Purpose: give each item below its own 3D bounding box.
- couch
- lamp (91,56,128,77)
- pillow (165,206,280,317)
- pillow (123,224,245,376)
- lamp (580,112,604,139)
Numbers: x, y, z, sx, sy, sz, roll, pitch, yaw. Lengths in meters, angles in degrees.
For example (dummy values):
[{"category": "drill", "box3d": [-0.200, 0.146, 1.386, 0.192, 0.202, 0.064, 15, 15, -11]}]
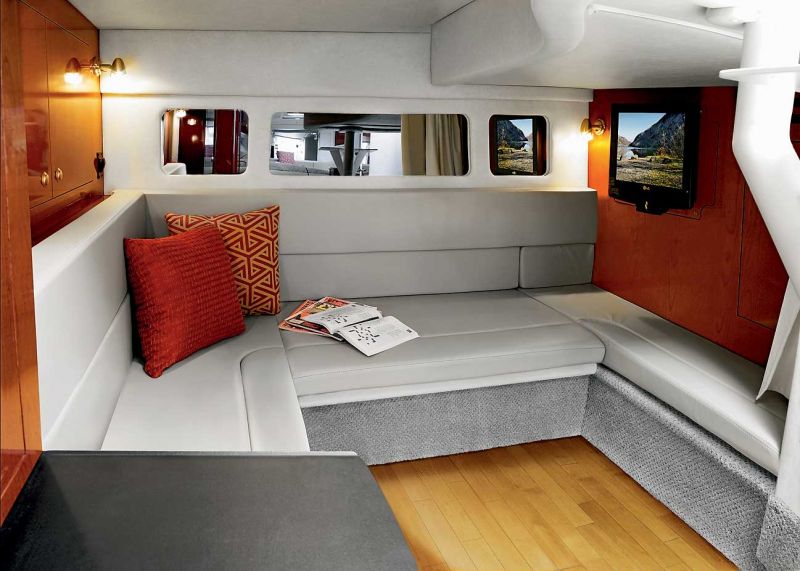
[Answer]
[{"category": "couch", "box3d": [0.027, 0.033, 2.373, 2.686, 0.841, 2.055, -5, 17, -28]}, {"category": "lamp", "box3d": [-1.468, -1.093, 2.658, 0.197, 0.106, 0.109, -18, 42, -34]}, {"category": "pillow", "box3d": [-0.823, -0.104, 2.427, 0.474, 0.524, 0.195, -6, -1, -22]}, {"category": "pillow", "box3d": [-0.911, 0.080, 2.201, 0.265, 0.452, 0.490, 22, 24, 28]}, {"category": "lamp", "box3d": [1.204, -1.012, 3.311, 0.131, 0.132, 0.106, -6, 15, -23]}]
